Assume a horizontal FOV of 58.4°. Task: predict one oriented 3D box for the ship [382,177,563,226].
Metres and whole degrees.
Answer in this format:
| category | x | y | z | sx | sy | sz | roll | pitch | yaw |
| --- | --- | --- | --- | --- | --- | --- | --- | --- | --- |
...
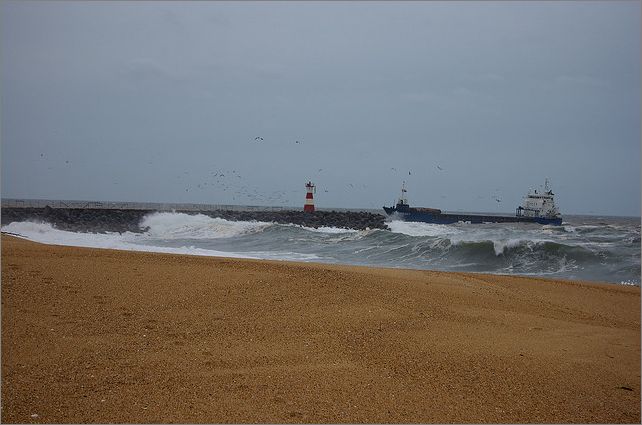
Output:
| category | x | y | z | sx | sy | sz | roll | pitch | yaw |
| --- | --- | --- | --- | --- | --- | --- | --- | --- | --- |
| ship | 14.865 | 0.262 | 54.390 | 15.390 | 5.136 | 3.298 | 2 | 0 | 2 |
